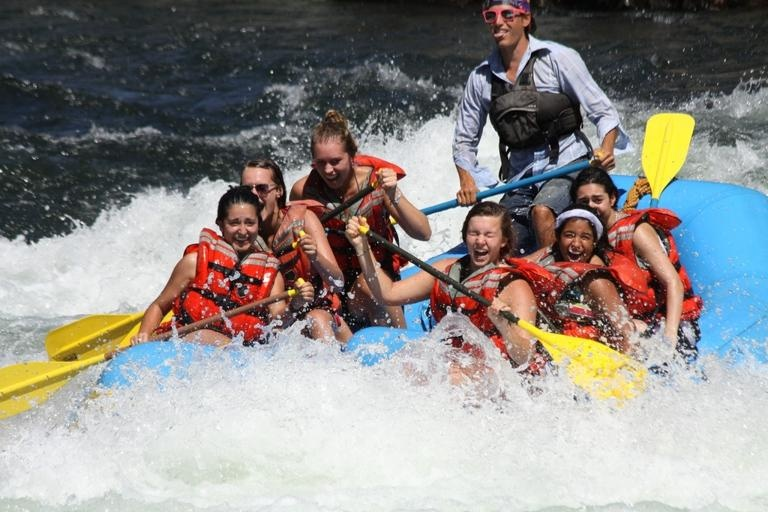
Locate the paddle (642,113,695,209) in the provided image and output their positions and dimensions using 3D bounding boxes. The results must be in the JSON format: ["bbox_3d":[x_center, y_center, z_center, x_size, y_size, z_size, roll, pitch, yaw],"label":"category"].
[{"bbox_3d":[2.619,-0.811,8.106,0.401,1.334,0.087,8,50,15],"label":"paddle"}]

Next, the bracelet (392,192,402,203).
[{"bbox_3d":[0.108,-0.485,7.021,0.030,0.064,0.086,29,56,-24],"label":"bracelet"}]

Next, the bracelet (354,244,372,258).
[{"bbox_3d":[-0.168,-0.060,6.840,0.102,0.101,0.098,-37,103,-10],"label":"bracelet"}]

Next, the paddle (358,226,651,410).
[{"bbox_3d":[0.995,0.522,6.683,2.464,0.143,0.520,32,92,8],"label":"paddle"}]
